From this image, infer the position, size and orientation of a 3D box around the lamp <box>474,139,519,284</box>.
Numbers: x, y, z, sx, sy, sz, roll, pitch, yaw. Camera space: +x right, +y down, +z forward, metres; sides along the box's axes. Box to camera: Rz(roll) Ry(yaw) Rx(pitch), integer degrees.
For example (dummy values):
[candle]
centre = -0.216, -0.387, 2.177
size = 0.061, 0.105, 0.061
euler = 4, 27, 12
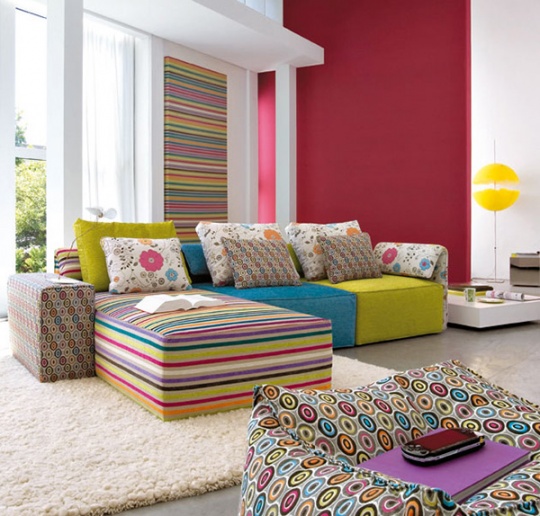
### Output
[lamp]
centre = 3.627, -0.726, 7.780
size = 0.733, 2.210, 0.874
euler = 3, 5, 22

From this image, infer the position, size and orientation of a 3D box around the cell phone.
[cell phone]
centre = 0.320, 0.335, 0.896
size = 0.128, 0.019, 0.060
euler = -7, 7, -32

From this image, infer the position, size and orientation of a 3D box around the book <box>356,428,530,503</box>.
[book]
centre = 0.325, 0.365, 0.904
size = 0.290, 0.054, 0.203
euler = -2, 5, -44
